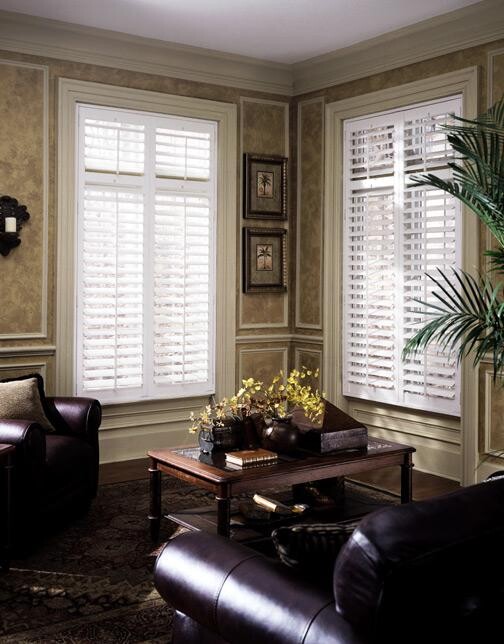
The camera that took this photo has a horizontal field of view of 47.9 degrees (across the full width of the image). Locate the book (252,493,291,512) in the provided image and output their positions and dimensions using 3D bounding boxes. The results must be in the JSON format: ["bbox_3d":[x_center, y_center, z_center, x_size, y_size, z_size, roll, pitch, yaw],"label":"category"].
[{"bbox_3d":[0.099,0.831,2.598,0.078,0.026,0.108,5,-2,-39],"label":"book"}]

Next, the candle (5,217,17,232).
[{"bbox_3d":[-1.626,-0.651,3.805,0.067,0.107,0.047,1,0,-23],"label":"candle"}]

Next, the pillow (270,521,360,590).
[{"bbox_3d":[0.136,0.496,1.244,0.178,0.047,0.145,-1,2,-14],"label":"pillow"}]

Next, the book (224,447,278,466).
[{"bbox_3d":[-0.010,0.616,2.607,0.241,0.057,0.180,0,0,-30],"label":"book"}]

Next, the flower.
[{"bbox_3d":[-0.005,0.497,3.709,1.043,0.398,0.598,-8,1,-22],"label":"flower"}]

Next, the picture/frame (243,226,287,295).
[{"bbox_3d":[0.096,-0.546,4.960,0.669,0.731,0.077,-1,1,-35],"label":"picture/frame"}]
